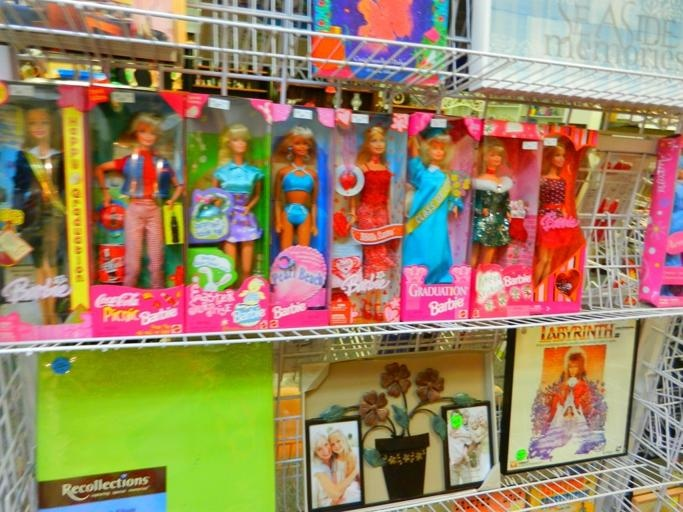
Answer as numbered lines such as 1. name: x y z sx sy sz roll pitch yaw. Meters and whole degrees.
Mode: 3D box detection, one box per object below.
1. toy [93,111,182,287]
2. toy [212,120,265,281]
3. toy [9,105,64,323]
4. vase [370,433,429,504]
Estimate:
1. toy: -0.380 -0.105 1.348 0.155 0.303 0.107 -15 -17 10
2. toy: -0.196 -0.104 1.375 0.116 0.283 0.097 -18 -18 19
3. toy: -0.559 -0.110 1.310 0.087 0.310 0.135 -5 -18 -24
4. vase: 0.139 0.472 1.608 0.172 0.148 0.129 1 -13 -14
